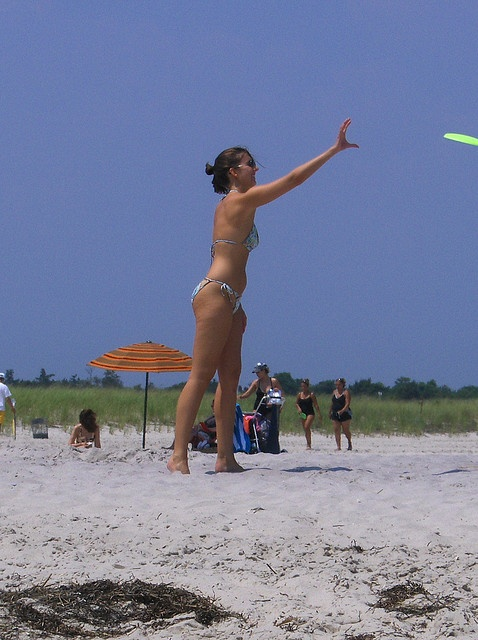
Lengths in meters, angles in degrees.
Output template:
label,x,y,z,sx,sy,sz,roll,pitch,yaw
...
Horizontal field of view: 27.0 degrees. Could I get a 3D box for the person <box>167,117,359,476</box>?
label,x,y,z,sx,sy,sz,roll,pitch,yaw
person,0.001,-0.080,6.364,0.831,2.175,0.770,3,-2,-6

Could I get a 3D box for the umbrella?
label,x,y,z,sx,sy,sz,roll,pitch,yaw
umbrella,-0.935,0.850,9.876,0.920,1.292,1.033,-4,-10,25

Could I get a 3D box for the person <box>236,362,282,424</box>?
label,x,y,z,sx,sy,sz,roll,pitch,yaw
person,0.250,1.104,12.281,0.548,1.215,0.416,-2,-9,-1

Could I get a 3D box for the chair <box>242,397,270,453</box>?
label,x,y,z,sx,sy,sz,roll,pitch,yaw
chair,0.190,1.156,10.479,0.249,0.354,0.493,-3,-5,9
